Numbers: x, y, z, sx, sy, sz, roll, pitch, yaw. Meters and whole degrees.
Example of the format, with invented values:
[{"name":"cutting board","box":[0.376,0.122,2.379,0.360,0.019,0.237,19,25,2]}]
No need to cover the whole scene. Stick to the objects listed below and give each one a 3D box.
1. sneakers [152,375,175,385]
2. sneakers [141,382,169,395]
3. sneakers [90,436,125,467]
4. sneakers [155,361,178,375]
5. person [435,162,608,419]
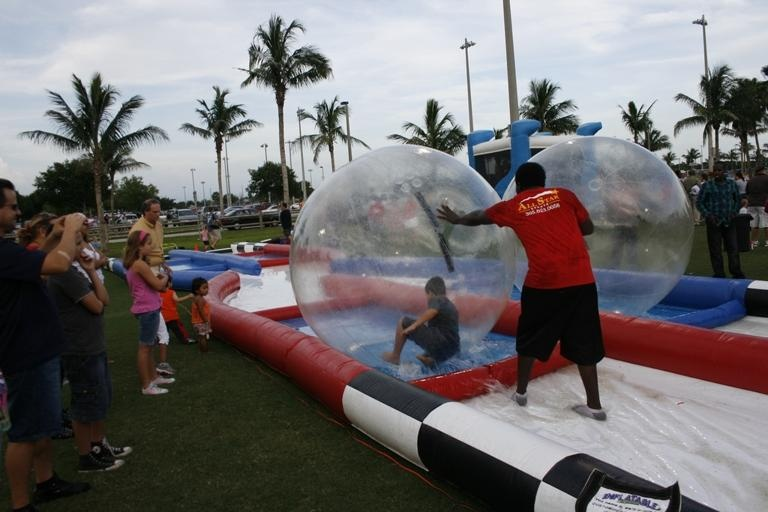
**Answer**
[{"name":"sneakers","box":[-2.529,1.423,5.545,0.235,0.102,0.088,2,1,-12]},{"name":"sneakers","box":[-2.530,1.460,5.339,0.298,0.131,0.120,1,0,-5]},{"name":"sneakers","box":[-2.323,1.704,4.181,0.341,0.232,0.125,1,1,-15]},{"name":"sneakers","box":[-2.623,1.369,5.801,0.273,0.134,0.111,20,-5,-21]},{"name":"person","box":[1.431,0.420,4.425,1.108,2.012,0.572,-1,13,11]}]
